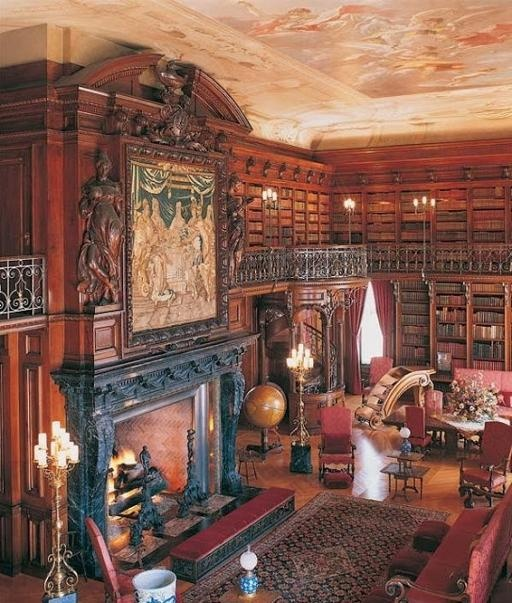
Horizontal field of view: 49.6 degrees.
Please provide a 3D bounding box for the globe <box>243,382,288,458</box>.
[{"bbox_3d":[0.115,2.220,10.455,1.057,1.254,0.836,-2,-10,7],"label":"globe"}]

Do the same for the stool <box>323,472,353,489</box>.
[{"bbox_3d":[1.311,2.902,8.936,0.480,0.239,0.393,-1,1,6],"label":"stool"}]

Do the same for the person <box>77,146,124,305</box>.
[{"bbox_3d":[-1.633,-0.758,5.827,0.227,1.574,0.385,6,6,36],"label":"person"}]

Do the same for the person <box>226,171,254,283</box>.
[{"bbox_3d":[-0.270,-1.116,8.465,0.226,1.661,0.382,1,2,22],"label":"person"}]

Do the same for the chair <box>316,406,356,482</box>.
[{"bbox_3d":[1.329,2.425,9.218,0.743,1.071,0.758,0,0,5],"label":"chair"}]

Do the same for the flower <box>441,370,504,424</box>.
[{"bbox_3d":[3.802,1.783,10.513,1.647,1.066,1.129,0,1,-43],"label":"flower"}]
